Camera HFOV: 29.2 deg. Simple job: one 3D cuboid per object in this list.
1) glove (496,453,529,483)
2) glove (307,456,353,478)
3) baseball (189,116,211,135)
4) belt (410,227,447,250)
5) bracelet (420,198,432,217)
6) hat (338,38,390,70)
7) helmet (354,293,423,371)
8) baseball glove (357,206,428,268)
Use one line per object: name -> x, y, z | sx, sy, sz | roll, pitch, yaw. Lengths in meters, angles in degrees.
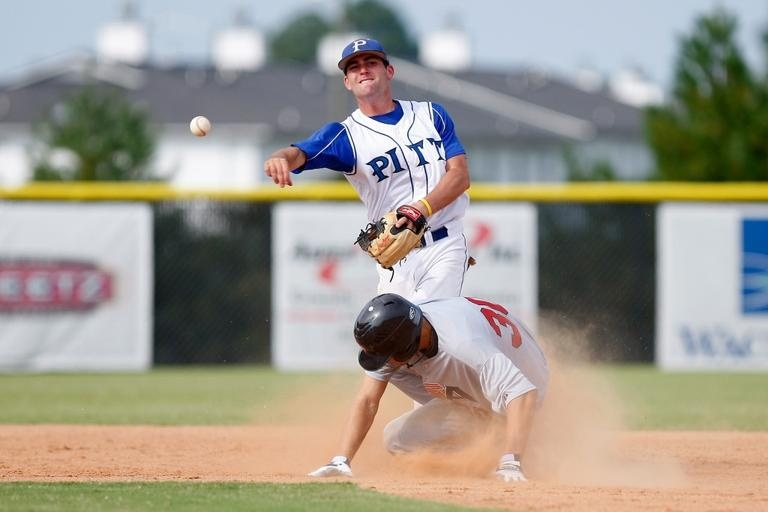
glove -> 1.086, 1.824, 12.738 | 0.266, 0.218, 0.159 | 0, 14, 4
glove -> -0.521, 1.866, 12.977 | 0.468, 0.213, 0.152 | 0, -5, -5
baseball -> -1.759, -1.184, 13.912 | 0.164, 0.189, 0.252 | -3, 14, -9
belt -> 0.419, -0.158, 13.280 | 0.227, 0.081, 0.167 | -23, 4, -17
bracelet -> 0.366, -0.410, 13.063 | 0.052, 0.134, 0.115 | -34, 31, -13
hat -> -0.217, -1.818, 13.357 | 0.382, 0.242, 0.532 | -12, -11, 0
helmet -> 0.029, 0.684, 12.722 | 0.588, 0.653, 0.247 | -1, 14, 0
baseball glove -> 0.073, -0.147, 13.122 | 0.598, 0.441, 0.258 | -46, -14, 8
